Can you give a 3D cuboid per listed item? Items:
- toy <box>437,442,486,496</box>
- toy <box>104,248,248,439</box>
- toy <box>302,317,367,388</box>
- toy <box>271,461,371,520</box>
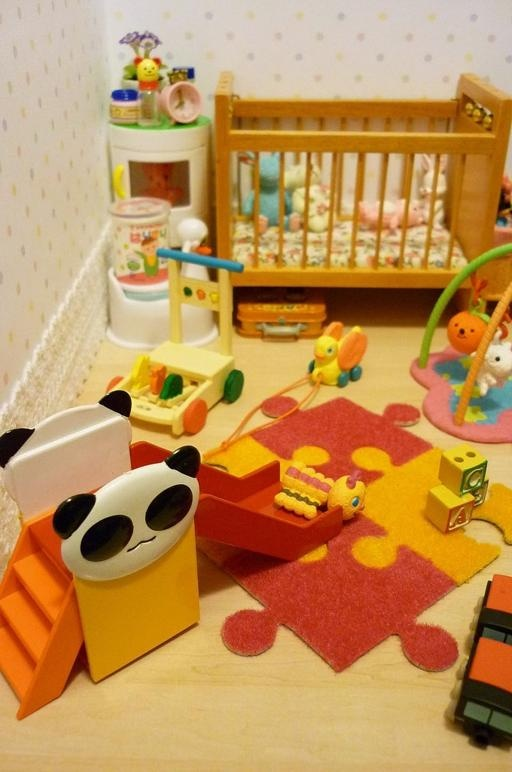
[{"bbox_3d":[0.591,0.246,1.737,0.127,0.096,0.128,2,26,13],"label":"toy"},{"bbox_3d":[-0.312,-0.164,2.276,0.426,0.557,0.469,21,40,28],"label":"toy"},{"bbox_3d":[0.350,-0.139,2.583,0.206,0.228,0.300,21,46,33],"label":"toy"},{"bbox_3d":[0.187,0.292,1.755,0.209,0.132,0.165,8,28,12],"label":"toy"}]
